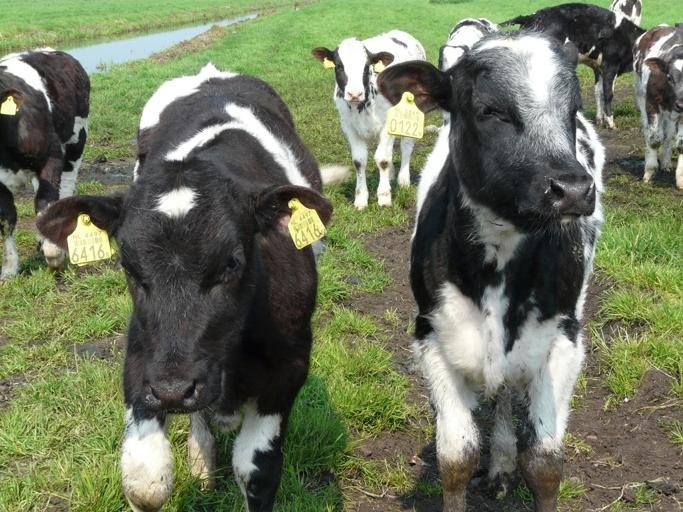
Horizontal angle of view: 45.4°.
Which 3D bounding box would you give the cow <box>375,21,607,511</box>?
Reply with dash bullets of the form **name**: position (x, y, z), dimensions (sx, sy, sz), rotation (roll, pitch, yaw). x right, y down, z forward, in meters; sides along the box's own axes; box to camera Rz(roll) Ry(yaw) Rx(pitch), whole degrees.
- **cow**: position (1.232, 0.168, 6.363), dimensions (1.419, 3.636, 1.607), rotation (0, 18, 14)
